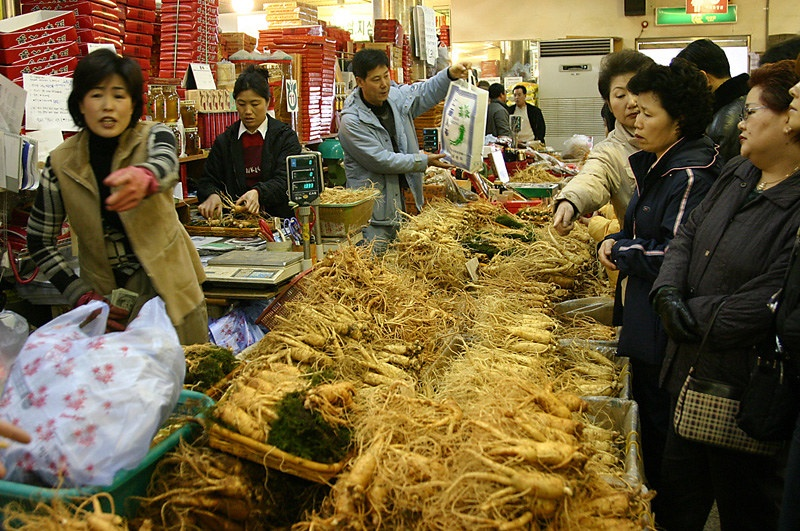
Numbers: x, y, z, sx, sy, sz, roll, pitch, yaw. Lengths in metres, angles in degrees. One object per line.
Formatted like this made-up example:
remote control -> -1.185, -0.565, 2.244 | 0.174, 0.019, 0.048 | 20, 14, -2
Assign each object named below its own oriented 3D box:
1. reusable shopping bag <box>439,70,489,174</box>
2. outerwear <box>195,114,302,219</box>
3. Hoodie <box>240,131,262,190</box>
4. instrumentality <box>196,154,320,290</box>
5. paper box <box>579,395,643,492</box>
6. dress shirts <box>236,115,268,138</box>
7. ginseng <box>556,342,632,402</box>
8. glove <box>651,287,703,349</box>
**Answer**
reusable shopping bag -> 0.477, -1.056, 3.958 | 0.206, 0.689, 0.409 | -13, 20, -34
outerwear -> -1.216, -0.838, 4.391 | 0.804, 0.945, 0.924 | 2, 12, 5
Hoodie -> -1.175, -0.842, 4.141 | 0.218, 0.401, 0.098 | -2, 5, -8
instrumentality -> -0.666, -0.306, 3.331 | 0.794, 0.914, 0.711 | 2, 9, 8
paper box -> 1.004, 0.844, 2.379 | 0.313, 0.147, 0.417 | 1, 21, 10
dress shirts -> -1.164, -1.092, 4.099 | 0.150, 0.118, 0.197 | 0, 22, 2
ginseng -> 1.075, 0.574, 2.888 | 0.298, 0.113, 0.356 | 3, 13, 13
glove -> 1.126, 0.212, 2.119 | 0.064, 0.127, 0.224 | 12, 49, -35
